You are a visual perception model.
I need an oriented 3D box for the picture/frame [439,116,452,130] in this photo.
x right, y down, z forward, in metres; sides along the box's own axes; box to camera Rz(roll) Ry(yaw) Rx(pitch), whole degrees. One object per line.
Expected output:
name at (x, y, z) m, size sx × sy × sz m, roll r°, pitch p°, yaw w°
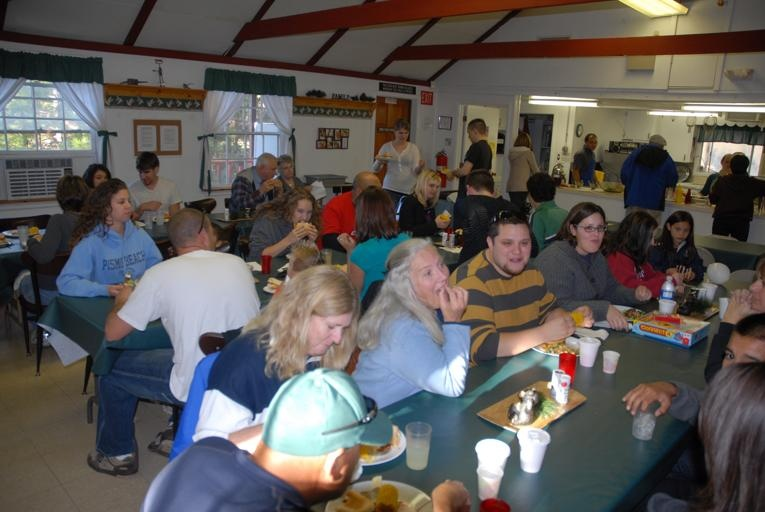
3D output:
picture/frame at (1.396, -2.971, 11.865) m, size 0.021 × 0.246 × 0.319 m, roll -7°, pitch 14°, yaw -35°

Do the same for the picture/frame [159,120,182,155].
picture/frame at (-3.428, -1.912, 8.567) m, size 0.041 × 0.553 × 0.547 m, roll 4°, pitch -4°, yaw 35°

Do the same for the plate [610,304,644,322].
plate at (1.870, 0.428, 4.010) m, size 0.154 × 0.048 × 0.149 m, roll 13°, pitch 10°, yaw -27°

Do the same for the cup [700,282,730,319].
cup at (2.672, 0.368, 4.307) m, size 0.208 × 0.235 × 0.158 m, roll -10°, pitch 2°, yaw -24°

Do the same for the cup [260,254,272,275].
cup at (-1.016, 0.074, 4.640) m, size 0.098 × 0.153 × 0.103 m, roll 5°, pitch 24°, yaw -2°

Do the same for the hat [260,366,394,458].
hat at (-0.205, 0.617, 2.127) m, size 0.439 × 0.231 × 0.304 m, roll -3°, pitch 12°, yaw -38°

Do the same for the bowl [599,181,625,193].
bowl at (3.991, -1.210, 9.362) m, size 0.338 × 0.146 × 0.348 m, roll -1°, pitch 10°, yaw 0°

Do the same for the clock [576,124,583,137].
clock at (4.241, -2.733, 11.544) m, size 0.215 × 0.215 × 0.029 m, roll -26°, pitch 27°, yaw -32°

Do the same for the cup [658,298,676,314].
cup at (2.210, 0.385, 4.162) m, size 0.125 × 0.125 × 0.124 m, roll -1°, pitch 6°, yaw 0°

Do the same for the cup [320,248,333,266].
cup at (-0.487, 0.009, 4.597) m, size 0.091 × 0.168 × 0.091 m, roll 4°, pitch 18°, yaw -1°

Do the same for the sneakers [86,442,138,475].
sneakers at (-1.986, 1.501, 3.942) m, size 0.310 × 0.117 × 0.224 m, roll 4°, pitch 19°, yaw -3°

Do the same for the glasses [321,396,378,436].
glasses at (-0.105, 0.624, 2.083) m, size 0.125 × 0.031 × 0.111 m, roll -16°, pitch 10°, yaw -18°
